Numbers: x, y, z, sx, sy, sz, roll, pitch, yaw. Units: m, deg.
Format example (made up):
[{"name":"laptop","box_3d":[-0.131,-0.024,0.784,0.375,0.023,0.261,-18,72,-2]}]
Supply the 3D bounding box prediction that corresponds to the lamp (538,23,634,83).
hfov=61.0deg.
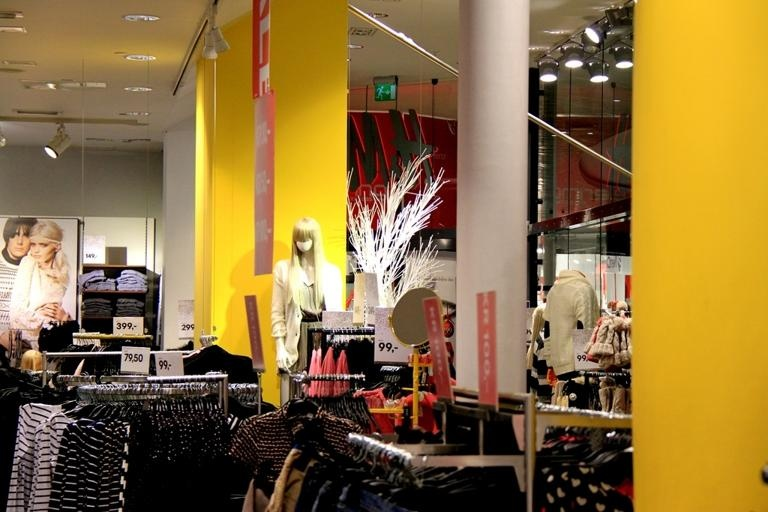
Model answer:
[{"name":"lamp","box_3d":[2.814,-2.825,9.150,0.644,0.810,1.554,1,-6,-17]}]

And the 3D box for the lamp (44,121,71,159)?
[{"name":"lamp","box_3d":[-5.154,-1.790,10.173,0.206,0.213,0.515,-20,-16,-17]}]

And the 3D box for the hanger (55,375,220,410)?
[{"name":"hanger","box_3d":[-1.301,0.784,3.700,0.906,0.205,0.172,-2,-6,9]}]

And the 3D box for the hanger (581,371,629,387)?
[{"name":"hanger","box_3d":[1.666,0.915,4.841,0.207,0.059,0.213,3,0,-25]}]

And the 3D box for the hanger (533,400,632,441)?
[{"name":"hanger","box_3d":[0.742,0.624,2.496,0.149,0.058,0.232,0,0,-11]}]

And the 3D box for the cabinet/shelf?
[{"name":"cabinet/shelf","box_3d":[-5.226,0.850,12.503,1.275,1.327,0.687,2,-9,-14]}]

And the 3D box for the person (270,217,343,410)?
[{"name":"person","box_3d":[-0.643,0.318,5.486,0.606,1.276,0.656,0,-6,-11]}]

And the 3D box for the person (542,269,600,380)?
[{"name":"person","box_3d":[1.845,0.660,6.445,0.510,1.034,0.591,-3,-6,17]}]
